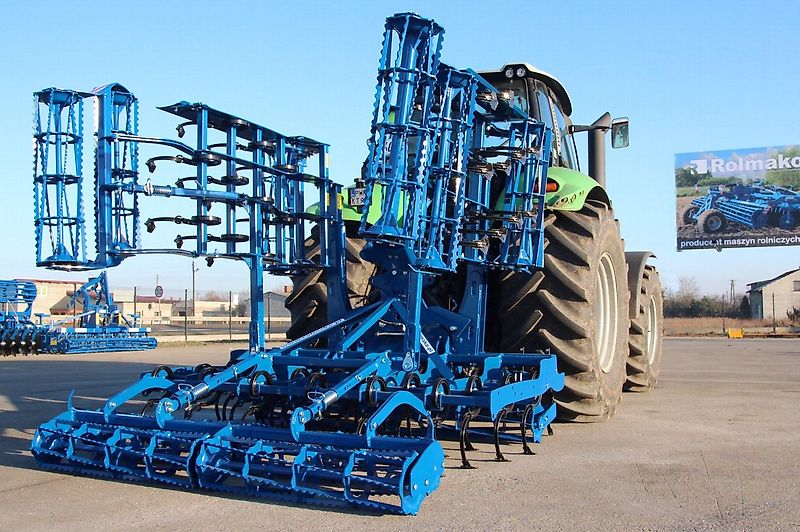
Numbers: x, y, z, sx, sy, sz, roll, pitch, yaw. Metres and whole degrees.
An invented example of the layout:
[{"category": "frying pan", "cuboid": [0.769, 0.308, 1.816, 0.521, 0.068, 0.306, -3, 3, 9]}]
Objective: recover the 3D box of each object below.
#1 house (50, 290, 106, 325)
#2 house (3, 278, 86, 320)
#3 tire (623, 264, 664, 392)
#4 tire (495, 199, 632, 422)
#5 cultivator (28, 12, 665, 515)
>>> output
[{"category": "house", "cuboid": [-14.542, 1.843, 35.838, 2.348, 1.548, 2.377, -1, -10, 1]}, {"category": "house", "cuboid": [-27.467, 2.102, 61.951, 2.335, 2.899, 4.383, 22, 6, 23]}, {"category": "tire", "cuboid": [3.370, 0.881, 11.162, 0.462, 1.743, 1.692, -5, 0, 19]}, {"category": "tire", "cuboid": [1.624, 0.464, 8.295, 0.830, 2.554, 2.549, -1, 0, 31]}, {"category": "cultivator", "cuboid": [-0.082, -0.214, 8.305, 6.488, 3.100, 3.309, -2, 1, -40]}]
